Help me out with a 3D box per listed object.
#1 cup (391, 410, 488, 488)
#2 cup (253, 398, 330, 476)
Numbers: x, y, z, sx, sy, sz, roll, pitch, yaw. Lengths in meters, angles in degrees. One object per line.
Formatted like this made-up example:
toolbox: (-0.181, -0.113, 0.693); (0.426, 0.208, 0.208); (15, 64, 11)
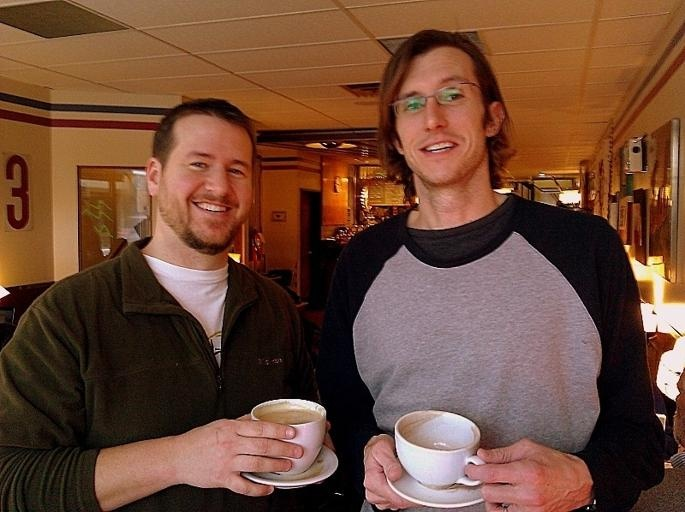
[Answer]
cup: (0.269, 0.530, 1.356); (0.264, 0.135, 0.213); (9, 11, 28)
cup: (-0.146, 0.527, 1.513); (0.227, 0.146, 0.221); (1, 4, 0)
